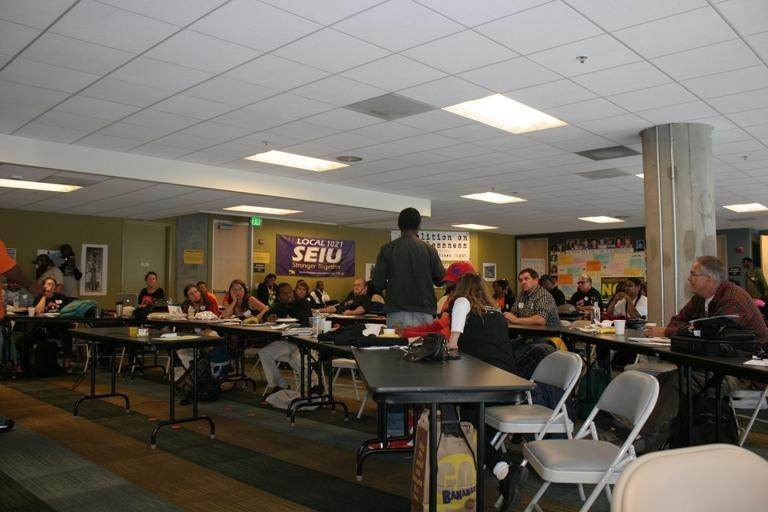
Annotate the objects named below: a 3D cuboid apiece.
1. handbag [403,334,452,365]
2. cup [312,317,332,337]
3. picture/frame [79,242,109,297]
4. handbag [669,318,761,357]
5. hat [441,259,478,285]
[{"bbox_3d":[0.332,0.681,3.880,0.341,0.118,0.215,-1,1,-21],"label":"handbag"},{"bbox_3d":[-0.676,0.759,5.774,0.307,0.224,0.161,4,-6,-37],"label":"cup"},{"bbox_3d":[-6.990,0.341,12.676,0.135,1.235,0.565,-8,-8,41],"label":"picture/frame"},{"bbox_3d":[2.636,0.654,4.196,0.480,0.148,0.400,0,-3,-23],"label":"handbag"},{"bbox_3d":[0.745,0.166,5.073,0.357,0.148,0.218,-1,-1,-9],"label":"hat"}]
